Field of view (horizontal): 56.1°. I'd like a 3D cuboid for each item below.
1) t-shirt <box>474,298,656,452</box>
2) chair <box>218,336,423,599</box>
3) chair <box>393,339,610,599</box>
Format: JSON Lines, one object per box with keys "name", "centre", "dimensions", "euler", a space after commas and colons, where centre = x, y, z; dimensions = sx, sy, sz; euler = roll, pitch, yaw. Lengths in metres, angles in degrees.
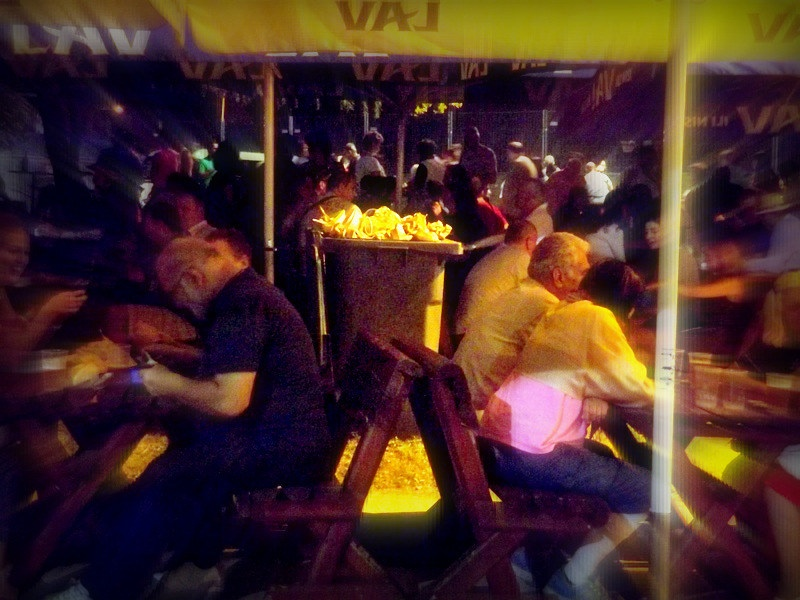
{"name": "t-shirt", "centre": [0.891, 0.405, 4.311], "dimensions": [0.828, 0.931, 0.654], "euler": [0, -3, -6]}
{"name": "chair", "centre": [-0.416, 0.919, 4.262], "dimensions": [0.966, 1.582, 1.068], "euler": [4, -8, -7]}
{"name": "chair", "centre": [0.401, 0.841, 4.290], "dimensions": [1.088, 1.551, 1.026], "euler": [-2, 3, -10]}
